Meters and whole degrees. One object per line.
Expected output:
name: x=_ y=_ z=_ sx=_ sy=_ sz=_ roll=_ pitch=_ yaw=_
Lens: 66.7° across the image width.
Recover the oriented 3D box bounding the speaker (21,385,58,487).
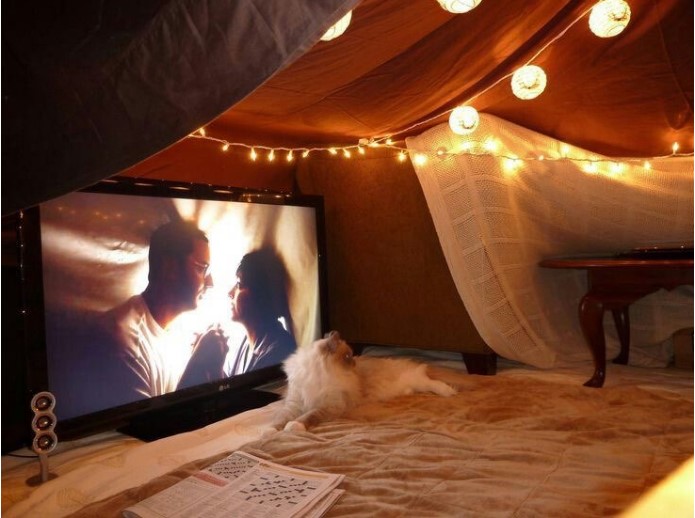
speaker: x=-1.105 y=0.639 z=1.879 sx=0.112 sy=0.318 sz=0.104 roll=-5 pitch=8 yaw=0

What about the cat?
cat: x=0.003 y=0.572 z=2.445 sx=0.403 sy=0.273 sz=0.744 roll=-26 pitch=-18 yaw=40

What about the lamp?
lamp: x=0.426 y=-0.707 z=2.640 sx=2.137 sy=0.673 sz=1.541 roll=0 pitch=8 yaw=38
